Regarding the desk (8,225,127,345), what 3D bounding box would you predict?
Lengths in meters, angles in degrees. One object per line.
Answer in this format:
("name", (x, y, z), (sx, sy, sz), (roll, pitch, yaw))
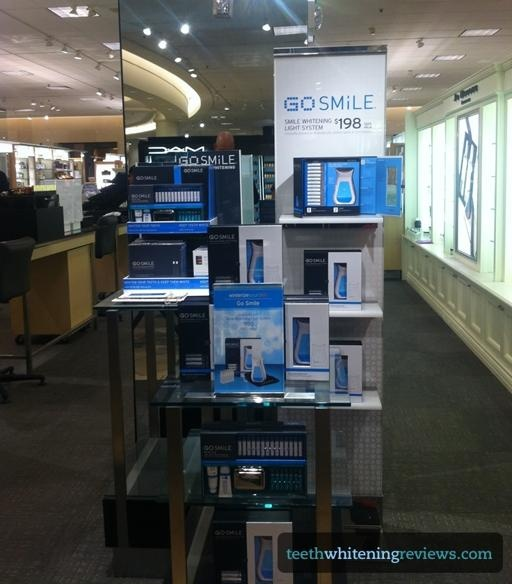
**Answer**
("desk", (-1.923, -0.071, 5.403), (0.352, 0.971, 1.092), (6, 19, 15))
